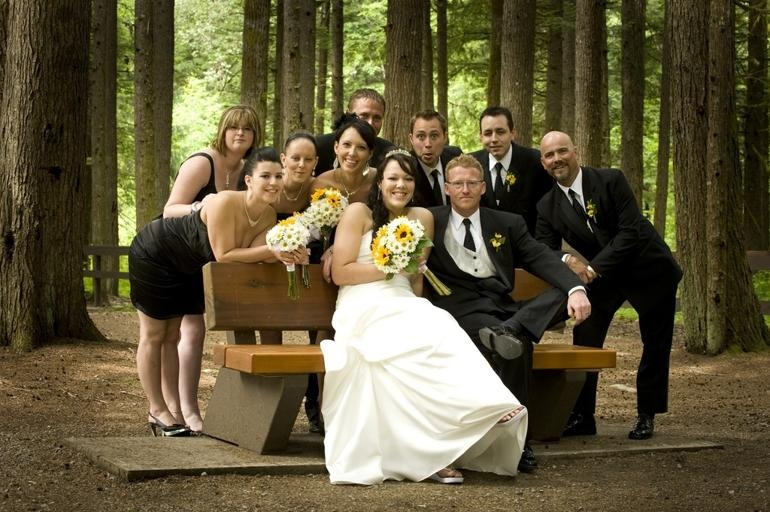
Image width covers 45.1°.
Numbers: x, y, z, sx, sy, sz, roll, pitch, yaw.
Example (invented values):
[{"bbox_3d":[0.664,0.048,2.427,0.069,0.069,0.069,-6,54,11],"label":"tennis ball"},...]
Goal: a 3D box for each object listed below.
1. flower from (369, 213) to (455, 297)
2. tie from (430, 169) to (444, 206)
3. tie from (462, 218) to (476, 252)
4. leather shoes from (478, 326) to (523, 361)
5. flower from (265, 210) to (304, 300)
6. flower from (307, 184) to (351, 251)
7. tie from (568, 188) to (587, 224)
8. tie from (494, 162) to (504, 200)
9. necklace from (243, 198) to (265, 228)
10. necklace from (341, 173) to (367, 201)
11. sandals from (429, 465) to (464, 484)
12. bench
[{"bbox_3d":[0.307,0.061,10.291,0.999,0.952,0.830,-5,15,-12],"label":"flower"},{"bbox_3d":[0.659,-0.847,11.654,0.282,0.380,0.097,-4,-12,-3],"label":"tie"},{"bbox_3d":[0.952,-0.220,10.565,0.110,0.413,0.059,-1,-28,4],"label":"tie"},{"bbox_3d":[1.214,0.911,10.079,0.542,0.234,0.268,31,29,34],"label":"leather shoes"},{"bbox_3d":[-1.026,0.022,10.328,0.440,0.903,0.506,7,10,27],"label":"flower"},{"bbox_3d":[-0.687,-0.346,10.633,0.497,0.540,0.458,2,-24,-33],"label":"flower"},{"bbox_3d":[2.291,-0.592,11.047,0.066,0.456,0.067,-33,-18,20],"label":"tie"},{"bbox_3d":[1.417,-0.938,11.691,0.105,0.457,0.114,3,-3,-13],"label":"tie"},{"bbox_3d":[-1.481,-0.452,10.301,0.182,0.237,0.065,-6,9,-31],"label":"necklace"},{"bbox_3d":[-0.349,-0.824,10.905,0.244,0.318,0.078,13,15,-17],"label":"necklace"},{"bbox_3d":[0.646,2.308,9.751,0.351,0.132,0.146,-1,-3,8],"label":"sandals"},{"bbox_3d":[-0.081,1.147,11.344,4.253,1.956,1.566,2,2,-44],"label":"bench"}]
